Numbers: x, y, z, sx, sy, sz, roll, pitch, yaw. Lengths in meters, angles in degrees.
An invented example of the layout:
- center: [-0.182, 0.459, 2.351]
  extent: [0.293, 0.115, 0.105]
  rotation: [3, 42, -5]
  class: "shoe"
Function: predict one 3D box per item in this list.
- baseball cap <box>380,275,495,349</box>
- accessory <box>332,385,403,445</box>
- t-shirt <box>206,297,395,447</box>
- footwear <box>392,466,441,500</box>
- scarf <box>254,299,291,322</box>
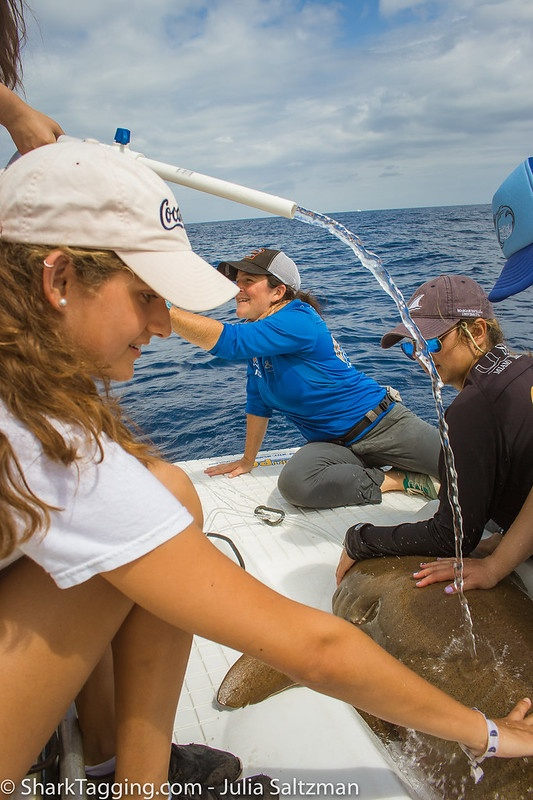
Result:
- center: [0.696, -0.365, 2.449]
  extent: [0.406, 0.195, 0.247]
  rotation: [-15, 2, -13]
  class: "baseball cap"
- center: [0.695, 0.132, 4.074]
  extent: [0.441, 0.117, 0.338]
  rotation: [-37, -5, 2]
  class: "accessory"
- center: [0.210, -0.142, 4.239]
  extent: [1.268, 0.885, 0.830]
  rotation: [-14, 3, -7]
  class: "t-shirt"
- center: [0.941, 0.534, 3.781]
  extent: [0.092, 0.102, 0.255]
  rotation: [-20, 12, -17]
  class: "footwear"
- center: [0.044, -0.596, 4.120]
  extent: [0.214, 0.084, 0.158]
  rotation: [-31, 2, 16]
  class: "scarf"
